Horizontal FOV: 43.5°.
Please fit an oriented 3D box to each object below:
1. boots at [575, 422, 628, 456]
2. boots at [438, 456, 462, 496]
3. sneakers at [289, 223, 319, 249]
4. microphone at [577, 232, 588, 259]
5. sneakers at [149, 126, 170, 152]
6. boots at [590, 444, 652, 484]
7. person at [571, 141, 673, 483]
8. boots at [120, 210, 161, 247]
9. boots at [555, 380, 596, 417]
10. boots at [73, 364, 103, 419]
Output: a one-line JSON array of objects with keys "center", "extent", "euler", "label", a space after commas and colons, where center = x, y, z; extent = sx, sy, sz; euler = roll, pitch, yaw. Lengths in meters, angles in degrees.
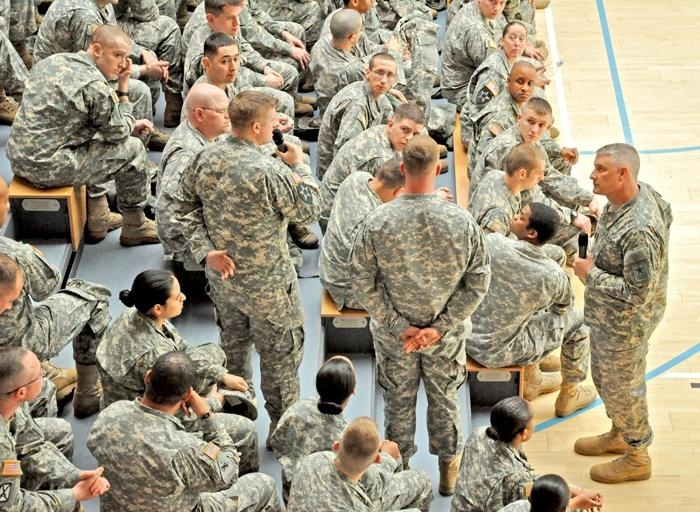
[{"center": [2.091, 1.560, 7.413], "extent": [0.468, 0.305, 0.184], "euler": [4, 25, 8], "label": "boots"}, {"center": [0.761, 1.689, 6.703], "extent": [0.149, 0.365, 0.185], "euler": [2, 6, 4], "label": "boots"}, {"center": [-0.433, -0.157, 8.195], "extent": [0.257, 0.196, 0.100], "euler": [27, -8, -27], "label": "sneakers"}, {"center": [1.838, -0.069, 6.878], "extent": [0.063, 0.207, 0.147], "euler": [2, 7, 12], "label": "microphone"}, {"center": [-1.958, -1.190, 9.008], "extent": [0.170, 0.116, 0.292], "euler": [-1, -18, 7], "label": "sneakers"}, {"center": [2.247, 1.736, 7.142], "extent": [0.565, 0.394, 0.233], "euler": [-1, 35, 5], "label": "boots"}, {"center": [2.130, 0.514, 6.908], "extent": [0.683, 2.754, 0.622], "euler": [3, 7, 18], "label": "person"}, {"center": [-1.917, -0.229, 7.978], "extent": [0.277, 0.263, 0.126], "euler": [-19, 47, -23], "label": "boots"}, {"center": [1.984, 1.277, 7.677], "extent": [0.391, 0.269, 0.138], "euler": [-25, 41, -23], "label": "boots"}, {"center": [-2.068, 1.063, 6.834], "extent": [0.217, 0.469, 0.172], "euler": [0, 6, -9], "label": "boots"}]
